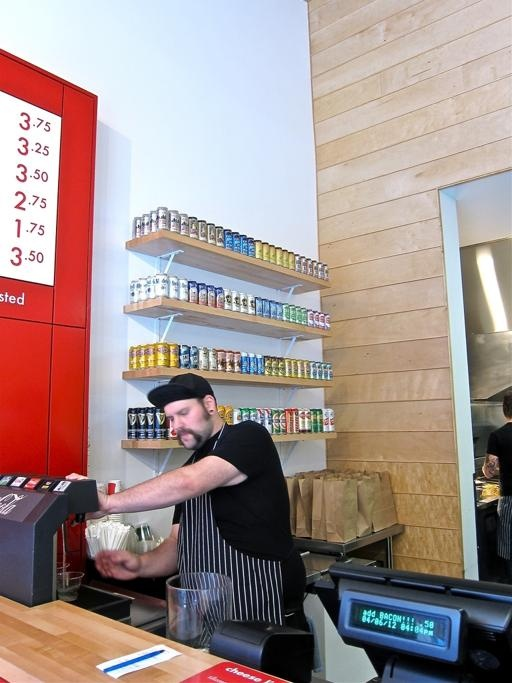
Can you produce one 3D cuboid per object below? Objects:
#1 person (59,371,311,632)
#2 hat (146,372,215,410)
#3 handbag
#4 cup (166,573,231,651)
[{"bbox_3d":[-0.219,0.501,1.652,0.698,0.818,0.455,4,-11,-43],"label":"person"},{"bbox_3d":[-0.234,0.155,1.691,0.175,0.084,0.113,18,-17,-18],"label":"hat"},{"bbox_3d":[0.504,0.945,3.091,0.467,0.281,0.470,-9,-13,38],"label":"handbag"},{"bbox_3d":[-0.102,0.456,0.898,0.120,0.127,0.083,-4,-8,9],"label":"cup"}]
